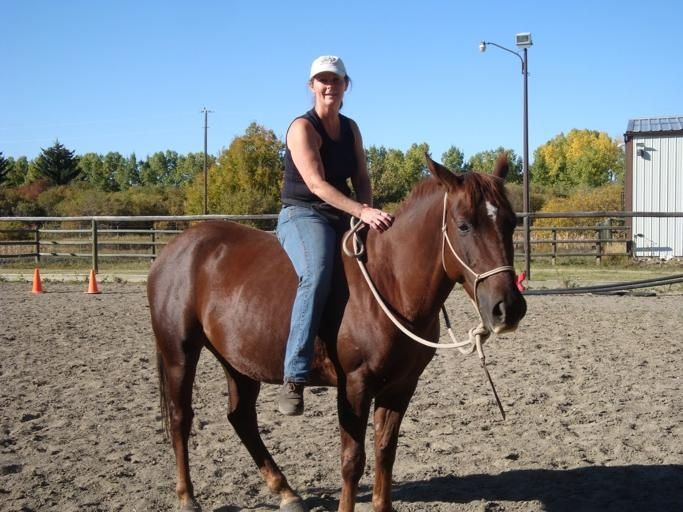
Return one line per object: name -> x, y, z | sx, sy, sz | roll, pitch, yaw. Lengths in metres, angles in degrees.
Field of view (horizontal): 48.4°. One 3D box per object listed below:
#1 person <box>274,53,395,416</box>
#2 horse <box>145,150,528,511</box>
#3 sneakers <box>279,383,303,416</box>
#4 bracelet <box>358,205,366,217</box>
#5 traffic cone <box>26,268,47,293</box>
person -> -0.026, -0.257, 6.143 | 0.935, 2.858, 1.083 | 4, 5, 21
horse -> -0.108, 0.673, 6.041 | 3.079, 2.815, 0.664 | 0, 4, 19
sneakers -> -0.391, 1.106, 5.896 | 0.188, 0.301, 0.187 | -1, 4, 1
bracelet -> 0.156, -0.352, 5.852 | 0.020, 0.081, 0.074 | 12, -4, 11
traffic cone -> -6.111, 0.501, 15.170 | 0.329, 0.476, 0.360 | 0, -1, -12
